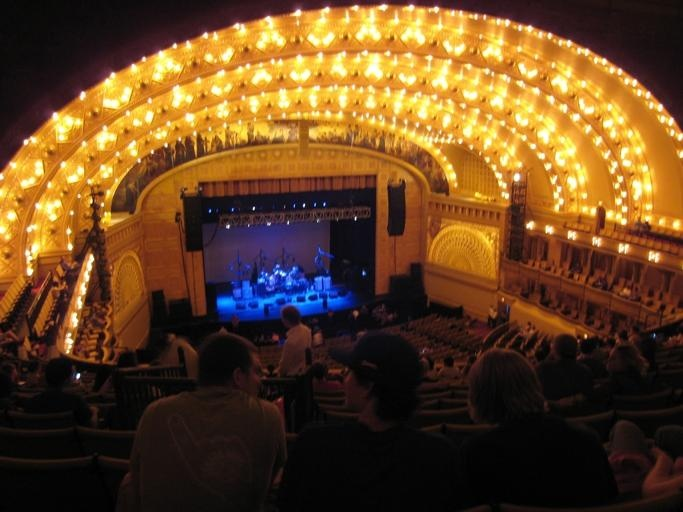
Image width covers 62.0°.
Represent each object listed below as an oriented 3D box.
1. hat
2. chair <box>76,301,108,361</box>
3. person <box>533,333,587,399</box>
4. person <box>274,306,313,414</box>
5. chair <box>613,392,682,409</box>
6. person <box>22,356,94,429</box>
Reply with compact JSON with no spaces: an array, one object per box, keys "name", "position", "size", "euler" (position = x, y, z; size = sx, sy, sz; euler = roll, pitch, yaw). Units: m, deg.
[{"name":"hat","position":[0.280,0.735,4.089],"size":[0.500,0.281,0.377],"euler":[31,16,16]},{"name":"chair","position":[-6.273,1.830,14.439],"size":[0.827,1.601,2.764],"euler":[5,-11,-22]},{"name":"person","position":[2.509,1.255,6.413],"size":[0.627,0.797,0.400],"euler":[2,15,16]},{"name":"person","position":[-0.755,1.730,8.410],"size":[0.508,2.001,0.644],"euler":[13,20,27]},{"name":"chair","position":[3.280,1.538,6.048],"size":[0.713,0.211,0.155],"euler":[0,-10,5]},{"name":"person","position":[-2.954,1.391,5.878],"size":[0.666,0.658,0.359],"euler":[3,0,1]}]
